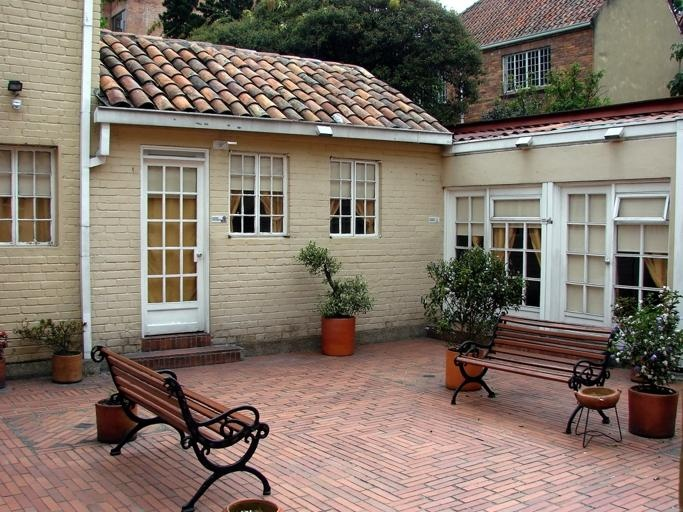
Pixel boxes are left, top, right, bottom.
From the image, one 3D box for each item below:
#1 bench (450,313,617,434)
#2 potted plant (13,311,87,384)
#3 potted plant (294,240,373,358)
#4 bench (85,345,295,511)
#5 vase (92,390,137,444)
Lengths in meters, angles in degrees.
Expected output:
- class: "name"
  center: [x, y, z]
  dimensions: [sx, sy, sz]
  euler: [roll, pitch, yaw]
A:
- class: "bench"
  center: [2.582, 1.411, 6.605]
  dimensions: [1.947, 1.287, 1.181]
  euler: [3, 4, 44]
- class: "potted plant"
  center: [-4.434, 1.440, 7.613]
  dimensions: [0.893, 0.950, 0.455]
  euler: [1, 3, -4]
- class: "potted plant"
  center: [-0.137, 0.818, 9.569]
  dimensions: [1.355, 2.168, 0.850]
  euler: [1, 3, -4]
- class: "bench"
  center: [-1.455, 1.537, 4.673]
  dimensions: [0.850, 1.113, 1.753]
  euler: [-1, 3, -41]
- class: "vase"
  center: [-2.481, 1.815, 5.487]
  dimensions: [0.405, 0.349, 0.442]
  euler: [0, -2, 34]
